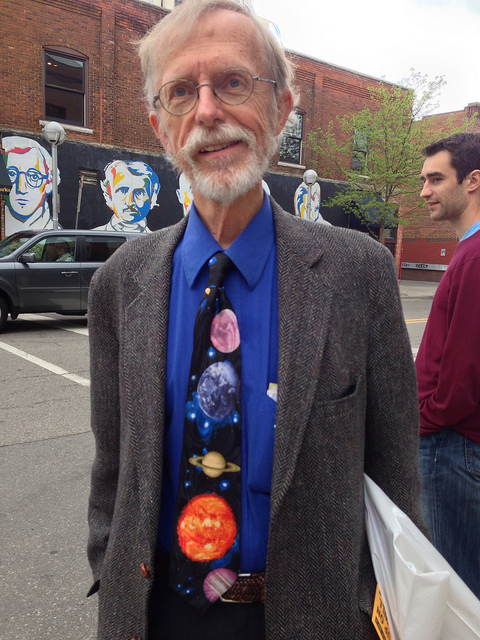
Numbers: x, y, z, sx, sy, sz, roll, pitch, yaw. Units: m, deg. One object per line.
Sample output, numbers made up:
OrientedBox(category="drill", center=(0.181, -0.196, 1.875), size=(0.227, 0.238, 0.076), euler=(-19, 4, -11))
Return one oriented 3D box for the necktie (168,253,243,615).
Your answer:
OrientedBox(category="necktie", center=(-0.071, 0.219, 1.115), size=(0.148, 0.716, 0.235), euler=(0, 8, -3))
